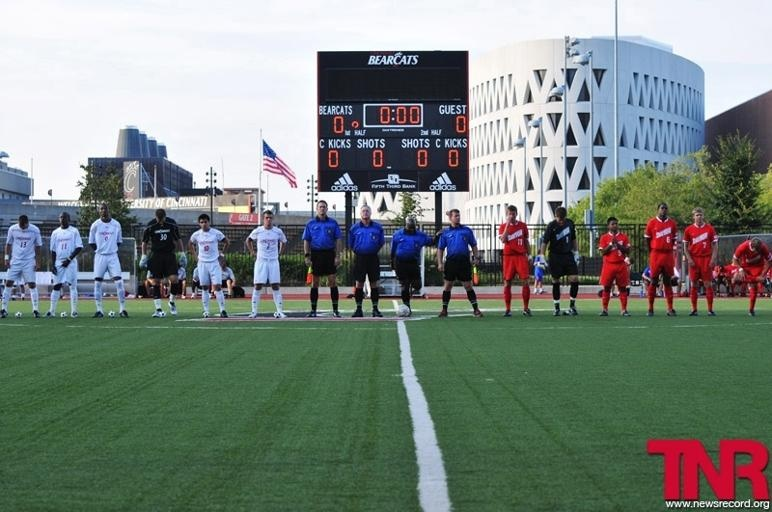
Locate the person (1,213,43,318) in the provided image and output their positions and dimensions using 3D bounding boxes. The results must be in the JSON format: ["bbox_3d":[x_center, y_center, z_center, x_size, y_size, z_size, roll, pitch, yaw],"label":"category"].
[{"bbox_3d":[-7.666,0.224,18.976,0.831,2.106,1.086,-1,-2,-34],"label":"person"}]

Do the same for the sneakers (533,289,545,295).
[{"bbox_3d":[5.370,1.254,31.766,0.192,0.226,0.570,2,-4,-13],"label":"sneakers"}]

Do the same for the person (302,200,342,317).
[{"bbox_3d":[-1.252,0.079,18.070,0.743,2.308,1.250,-1,-1,-5],"label":"person"}]

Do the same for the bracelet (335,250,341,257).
[{"bbox_3d":[-0.967,-0.047,18.219,0.128,0.133,0.139,1,-2,0],"label":"bracelet"}]

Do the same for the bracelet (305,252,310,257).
[{"bbox_3d":[-1.553,-0.018,17.984,0.078,0.075,0.028,-9,8,-25],"label":"bracelet"}]

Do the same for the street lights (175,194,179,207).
[{"bbox_3d":[-28.070,-7.257,121.946,0.417,1.263,0.776,-1,-1,-22],"label":"street lights"}]

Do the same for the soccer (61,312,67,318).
[{"bbox_3d":[-6.867,1.263,19.247,0.087,0.077,0.092,16,1,7],"label":"soccer"}]

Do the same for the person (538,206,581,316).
[{"bbox_3d":[3.579,0.130,18.529,0.696,2.205,1.435,-2,-1,12],"label":"person"}]

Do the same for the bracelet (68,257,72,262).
[{"bbox_3d":[-6.551,0.056,18.783,0.069,0.092,0.126,-1,-1,-11],"label":"bracelet"}]

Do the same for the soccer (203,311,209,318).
[{"bbox_3d":[-3.633,1.197,18.308,0.073,0.134,0.203,-6,-4,-17],"label":"soccer"}]

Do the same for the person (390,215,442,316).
[{"bbox_3d":[0.536,0.201,18.483,0.921,2.059,0.909,0,-2,-41],"label":"person"}]

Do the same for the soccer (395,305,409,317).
[{"bbox_3d":[0.356,1.134,18.575,0.190,0.245,0.220,4,9,16],"label":"soccer"}]

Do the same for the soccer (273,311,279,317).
[{"bbox_3d":[-2.254,1.211,18.589,0.129,0.097,0.183,3,-1,-2],"label":"soccer"}]

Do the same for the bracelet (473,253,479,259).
[{"bbox_3d":[1.857,-0.004,18.433,0.097,0.161,0.101,1,4,4],"label":"bracelet"}]

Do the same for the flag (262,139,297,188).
[{"bbox_3d":[-4.672,-4.066,39.389,1.088,2.047,2.538,-1,-1,-31],"label":"flag"}]
